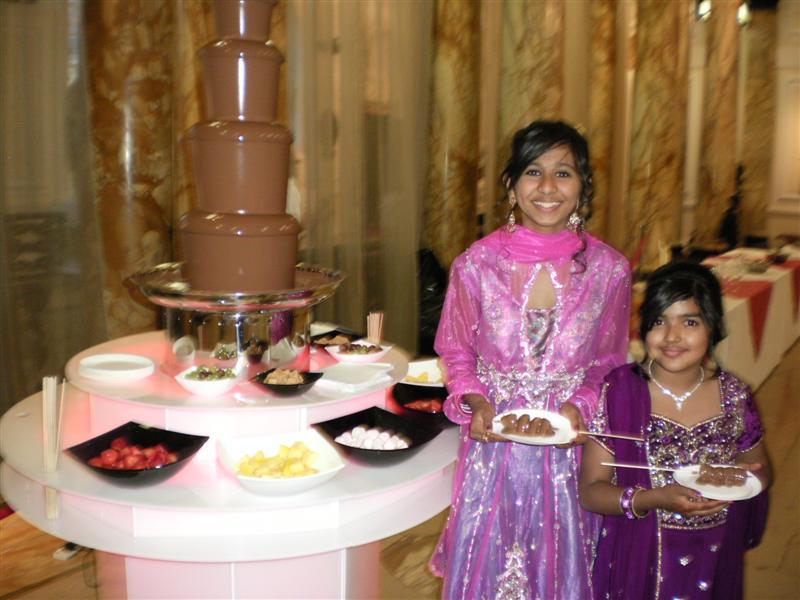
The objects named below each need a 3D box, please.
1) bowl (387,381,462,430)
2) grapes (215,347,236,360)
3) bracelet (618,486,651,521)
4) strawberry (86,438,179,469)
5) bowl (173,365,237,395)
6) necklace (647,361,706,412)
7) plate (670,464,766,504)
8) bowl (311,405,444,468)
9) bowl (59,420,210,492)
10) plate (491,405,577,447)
[{"bbox_3d":[0.098,0.369,2.601,0.238,0.105,0.230,1,8,0],"label":"bowl"},{"bbox_3d":[-0.570,0.167,2.229,0.052,0.051,0.017,-4,25,-8],"label":"grapes"},{"bbox_3d":[0.650,0.550,1.884,0.090,0.085,0.077,-1,-6,32],"label":"bracelet"},{"bbox_3d":[-0.787,0.457,2.012,0.117,0.031,0.117,5,3,20],"label":"strawberry"},{"bbox_3d":[-0.628,0.249,2.191,0.126,0.044,0.109,7,16,8],"label":"bowl"},{"bbox_3d":[0.820,0.235,2.006,0.113,0.150,0.026,-2,8,21],"label":"necklace"},{"bbox_3d":[0.837,0.472,1.798,0.208,0.071,0.173,3,11,27],"label":"plate"},{"bbox_3d":[-0.057,0.428,2.262,0.250,0.073,0.213,-4,7,-30],"label":"bowl"},{"bbox_3d":[-0.790,0.449,2.045,0.248,0.070,0.197,3,10,16],"label":"bowl"},{"bbox_3d":[0.400,0.366,2.034,0.245,0.064,0.271,0,9,8],"label":"plate"}]
